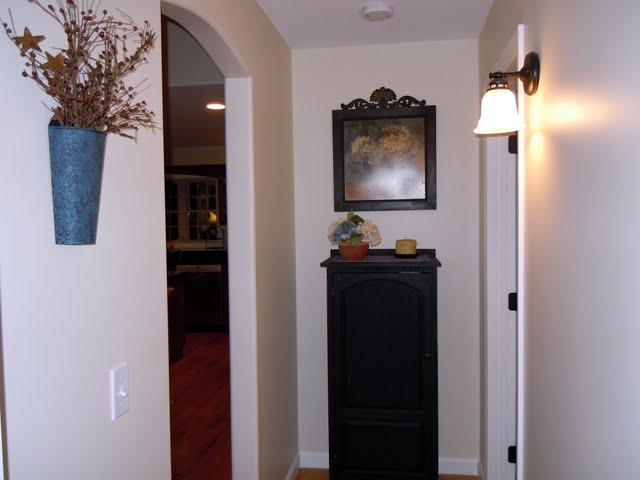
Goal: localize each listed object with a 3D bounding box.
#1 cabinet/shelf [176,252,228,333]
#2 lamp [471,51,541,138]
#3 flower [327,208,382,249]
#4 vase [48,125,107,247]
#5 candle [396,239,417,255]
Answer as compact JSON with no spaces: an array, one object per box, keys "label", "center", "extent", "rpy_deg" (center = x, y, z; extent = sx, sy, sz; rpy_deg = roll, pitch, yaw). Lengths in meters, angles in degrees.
[{"label":"cabinet/shelf","center":[-1.651,0.653,7.389],"extent":[0.756,1.158,0.709],"rpy_deg":[-1,-6,-9]},{"label":"lamp","center":[0.772,-0.612,2.202],"extent":[0.280,0.359,0.176],"rpy_deg":[0,1,-22]},{"label":"flower","center":[0.207,-0.056,3.200],"extent":[0.283,0.226,0.301],"rpy_deg":[3,-1,-18]},{"label":"vase","center":[-0.653,-0.151,1.431],"extent":[0.141,0.323,0.083],"rpy_deg":[0,1,-29]},{"label":"candle","center":[0.520,0.037,3.244],"extent":[0.087,0.095,0.095],"rpy_deg":[1,-3,11]}]
